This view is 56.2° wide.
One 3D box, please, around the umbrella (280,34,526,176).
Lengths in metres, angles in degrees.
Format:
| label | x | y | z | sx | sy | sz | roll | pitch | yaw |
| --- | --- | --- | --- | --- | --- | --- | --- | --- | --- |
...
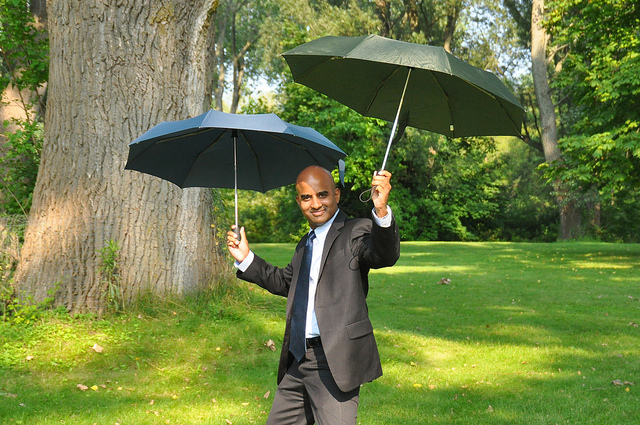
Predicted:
| label | x | y | z | sx | sy | sz | roll | pitch | yaw |
| --- | --- | --- | --- | --- | --- | --- | --- | --- | --- |
| umbrella | 1.303 | -1.670 | 9.974 | 3.094 | 1.873 | 3.347 | 20 | 32 | 18 |

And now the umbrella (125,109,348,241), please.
| label | x | y | z | sx | sy | sz | roll | pitch | yaw |
| --- | --- | --- | --- | --- | --- | --- | --- | --- | --- |
| umbrella | -1.176 | -0.416 | 8.604 | 2.467 | 1.512 | 2.476 | -7 | -9 | 44 |
